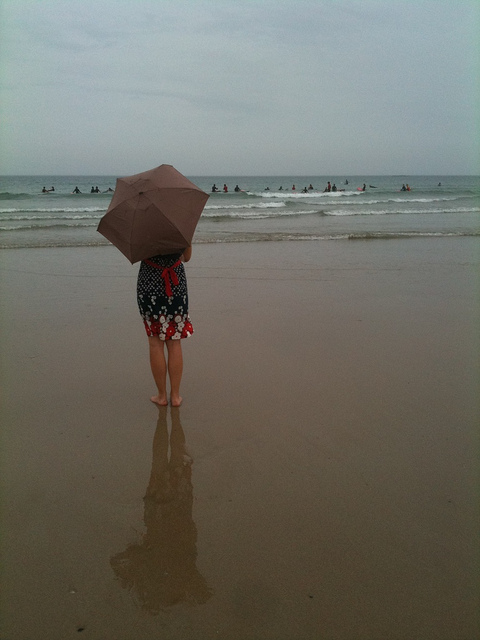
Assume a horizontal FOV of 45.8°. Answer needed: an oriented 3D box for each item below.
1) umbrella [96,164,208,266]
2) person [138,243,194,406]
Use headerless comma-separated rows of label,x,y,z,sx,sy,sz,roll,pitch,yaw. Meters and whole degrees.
umbrella,-0.567,-0.680,3.668,0.667,0.622,0.412,4,13,18
person,-0.494,0.051,3.940,0.381,1.167,0.454,1,12,4
